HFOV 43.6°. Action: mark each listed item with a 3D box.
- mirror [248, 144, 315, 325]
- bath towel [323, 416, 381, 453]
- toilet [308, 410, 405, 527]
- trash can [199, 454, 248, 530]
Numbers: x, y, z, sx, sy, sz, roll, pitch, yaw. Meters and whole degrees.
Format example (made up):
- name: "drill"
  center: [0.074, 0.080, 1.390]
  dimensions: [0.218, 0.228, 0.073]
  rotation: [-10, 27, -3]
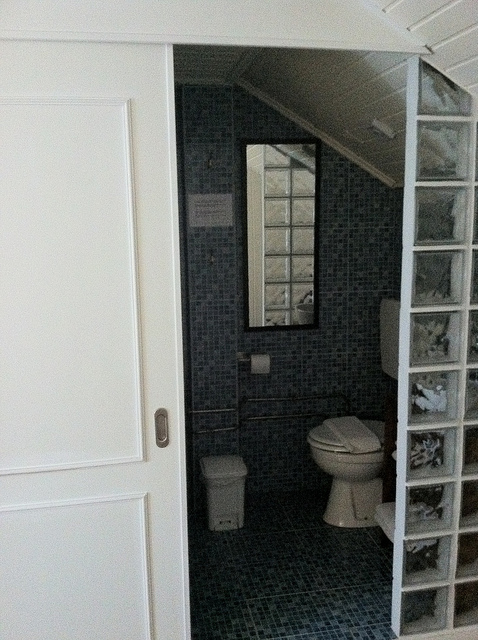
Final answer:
- name: "mirror"
  center: [0.210, -0.417, 2.970]
  dimensions: [0.339, 0.875, 0.050]
  rotation: [-3, 7, -9]
- name: "bath towel"
  center: [0.525, 0.532, 2.789]
  dimensions: [0.193, 0.054, 0.391]
  rotation: [-3, 8, -7]
- name: "toilet"
  center: [0.568, 0.721, 2.805]
  dimensions: [0.462, 0.447, 0.409]
  rotation: [-1, 3, 8]
- name: "trash can"
  center: [-0.078, 0.814, 2.846]
  dimensions: [0.210, 0.295, 0.258]
  rotation: [-2, 7, -5]
